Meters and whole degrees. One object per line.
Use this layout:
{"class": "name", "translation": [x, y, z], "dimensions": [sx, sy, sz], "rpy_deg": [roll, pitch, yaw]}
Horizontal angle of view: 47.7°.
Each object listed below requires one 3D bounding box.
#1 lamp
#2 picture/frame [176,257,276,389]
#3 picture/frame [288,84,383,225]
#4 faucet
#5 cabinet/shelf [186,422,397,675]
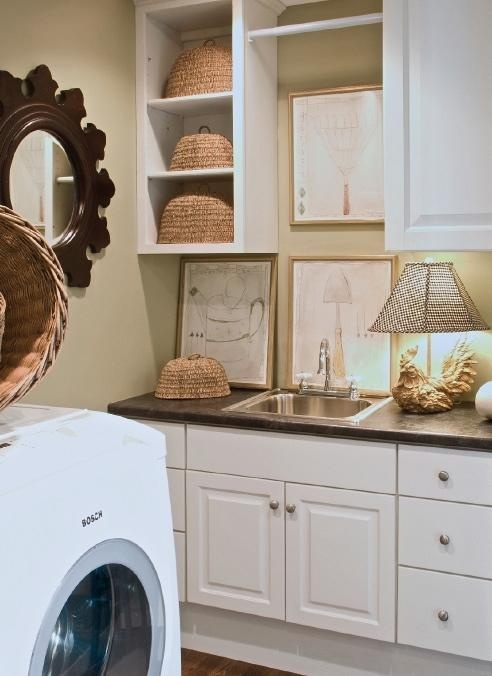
{"class": "lamp", "translation": [0.639, -0.073, 1.964], "dimensions": [0.276, 0.429, 0.301], "rpy_deg": [-1, 1, 2]}
{"class": "picture/frame", "translation": [-0.069, -0.056, 2.512], "dimensions": [0.505, 0.728, 0.028], "rpy_deg": [2, 1, 27]}
{"class": "picture/frame", "translation": [0.390, -0.783, 2.337], "dimensions": [0.528, 0.805, 0.030], "rpy_deg": [2, 6, 24]}
{"class": "faucet", "translation": [0.328, 0.127, 2.302], "dimensions": [0.279, 0.237, 0.210], "rpy_deg": [2, 2, 17]}
{"class": "cabinet/shelf", "translation": [0.197, 0.639, 2.143], "dimensions": [0.924, 0.896, 0.561], "rpy_deg": [-2, -6, 26]}
